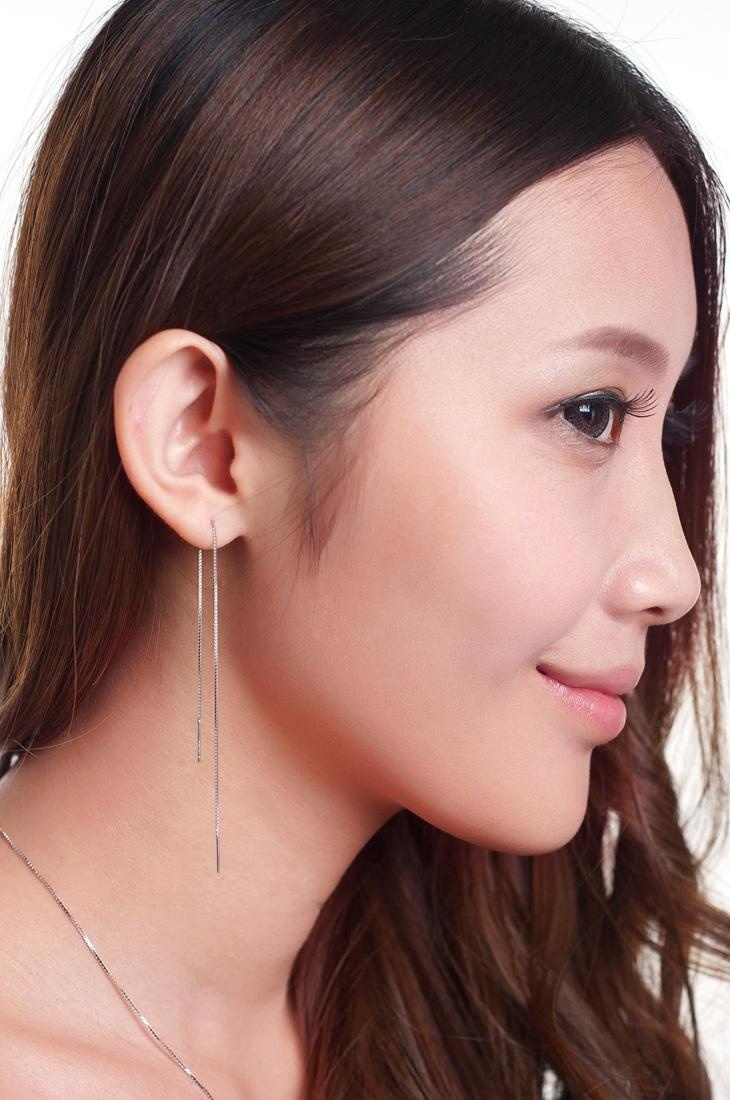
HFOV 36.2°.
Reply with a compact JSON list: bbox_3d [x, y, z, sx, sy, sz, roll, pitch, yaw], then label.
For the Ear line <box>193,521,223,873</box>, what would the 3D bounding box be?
[{"bbox_3d":[-0.183,0.192,1.301,0.037,0.356,0.017,7,10,38],"label":"Ear line"}]
